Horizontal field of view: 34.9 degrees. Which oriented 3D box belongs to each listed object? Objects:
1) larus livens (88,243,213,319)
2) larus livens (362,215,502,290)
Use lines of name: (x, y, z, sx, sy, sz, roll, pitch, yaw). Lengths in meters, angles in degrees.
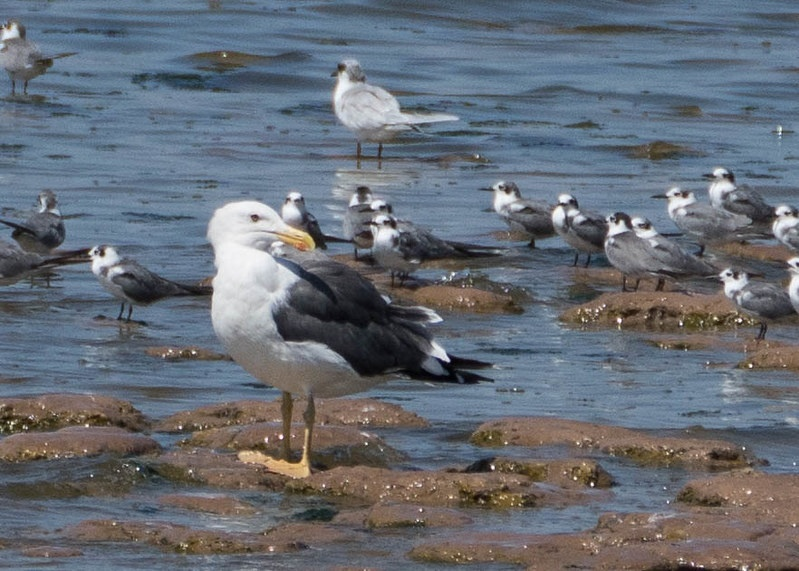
larus livens: (-4.359, -0.100, 19.491, 2.371, 1.037, 1.802, -4, 16, -16)
larus livens: (0.315, -0.621, 21.857, 2.677, 1.194, 2.618, 0, 14, 3)
